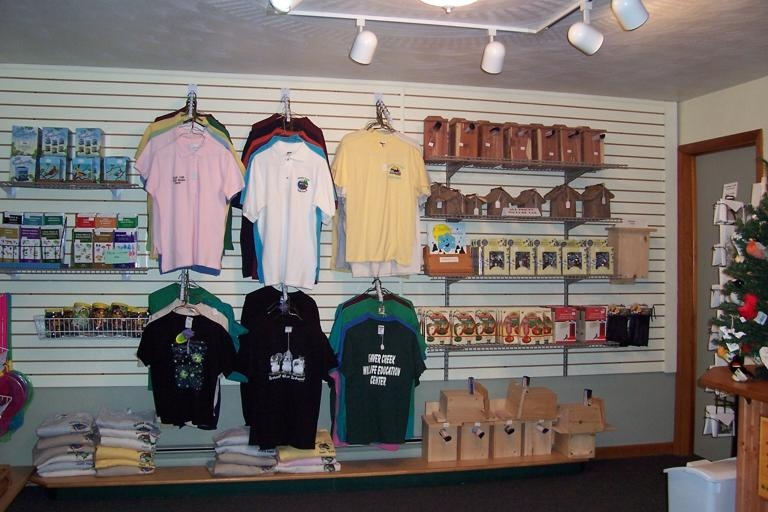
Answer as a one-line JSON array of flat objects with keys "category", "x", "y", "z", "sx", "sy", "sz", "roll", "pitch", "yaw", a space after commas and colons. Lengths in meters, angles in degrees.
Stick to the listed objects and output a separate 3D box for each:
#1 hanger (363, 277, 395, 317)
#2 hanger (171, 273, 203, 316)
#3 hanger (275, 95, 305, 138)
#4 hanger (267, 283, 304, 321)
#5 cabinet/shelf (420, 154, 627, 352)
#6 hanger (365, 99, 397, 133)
[{"category": "hanger", "x": -0.051, "y": 0.466, "z": 7.543, "sx": 0.420, "sy": 0.593, "sz": 0.255, "roll": -1, "pitch": 5, "yaw": -4}, {"category": "hanger", "x": -2.086, "y": 0.389, "z": 7.251, "sx": 0.444, "sy": 0.424, "sz": 0.405, "roll": 1, "pitch": 5, "yaw": 1}, {"category": "hanger", "x": -1.044, "y": -1.545, "z": 7.409, "sx": 0.418, "sy": 0.400, "sz": 0.412, "roll": -1, "pitch": 10, "yaw": 4}, {"category": "hanger", "x": -1.050, "y": 0.494, "z": 7.239, "sx": 0.331, "sy": 0.335, "sz": 0.333, "roll": -1, "pitch": 5, "yaw": -23}, {"category": "cabinet/shelf", "x": 1.525, "y": -0.015, "z": 7.949, "sx": 2.425, "sy": 1.423, "sz": 0.764, "roll": 0, "pitch": -5, "yaw": -10}, {"category": "hanger", "x": -0.023, "y": -1.525, "z": 7.622, "sx": 0.404, "sy": 0.397, "sz": 0.386, "roll": 0, "pitch": 2, "yaw": -5}]
